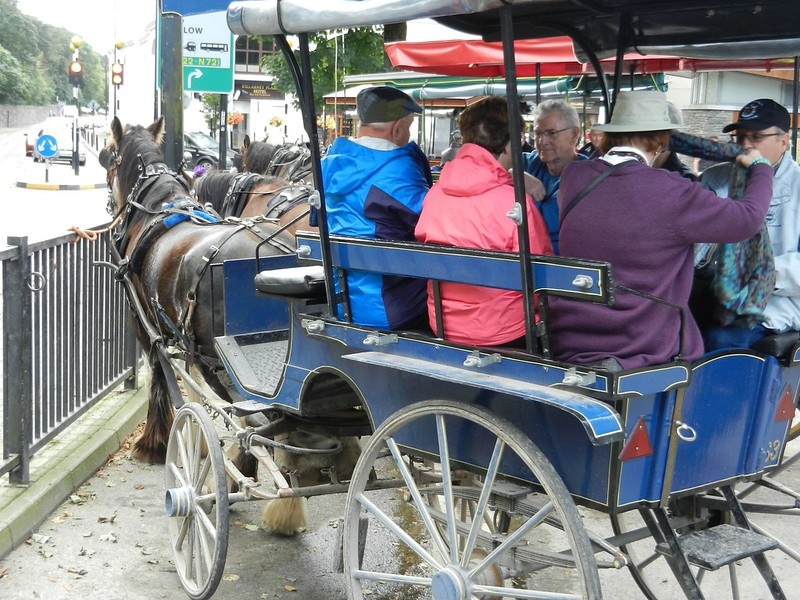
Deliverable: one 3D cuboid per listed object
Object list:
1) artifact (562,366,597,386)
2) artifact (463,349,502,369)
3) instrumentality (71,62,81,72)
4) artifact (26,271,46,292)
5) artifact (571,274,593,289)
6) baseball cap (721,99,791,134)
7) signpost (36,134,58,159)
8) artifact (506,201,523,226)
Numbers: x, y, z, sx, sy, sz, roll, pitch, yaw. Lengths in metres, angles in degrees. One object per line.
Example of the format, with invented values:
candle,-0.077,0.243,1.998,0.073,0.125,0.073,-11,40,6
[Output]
artifact,0.739,0.324,3.360,0.073,0.041,0.102,-23,15,-37
artifact,0.360,0.267,3.610,0.101,0.044,0.096,-9,12,-43
instrumentality,-10.878,-7.787,27.310,0.399,0.330,0.314,-11,21,-31
artifact,-2.594,-0.125,5.854,0.136,0.142,0.154,0,-5,40
artifact,0.756,-0.072,3.373,0.023,0.062,0.089,-16,23,-39
baseball cap,1.870,-0.953,4.308,0.294,0.149,0.197,7,11,6
signpost,-9.101,-3.930,20.950,0.478,0.585,0.982,-8,19,-23
artifact,0.492,-0.370,3.503,0.060,0.093,0.091,1,18,6
